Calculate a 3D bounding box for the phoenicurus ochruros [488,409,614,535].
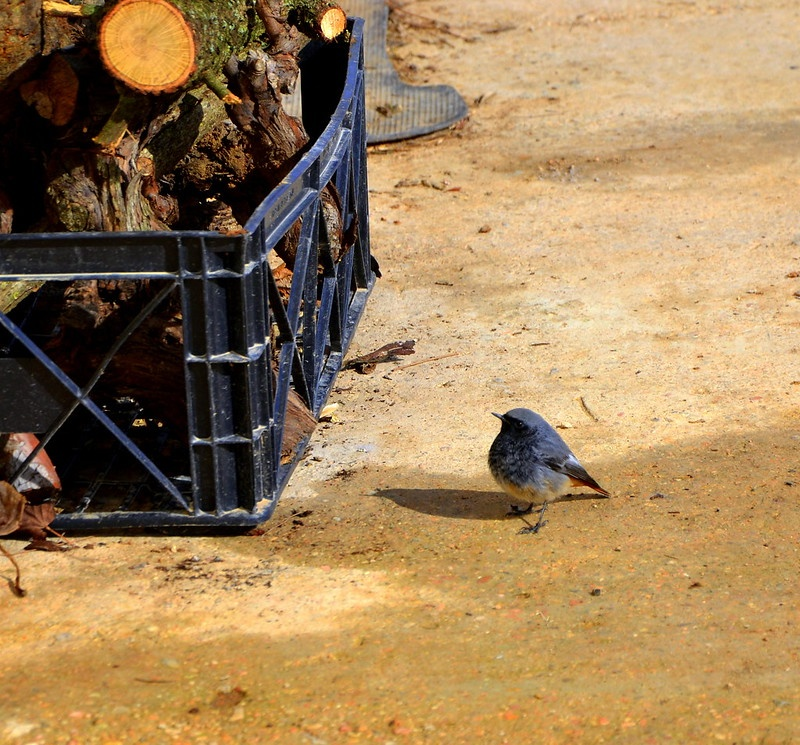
[{"bbox_3d":[0.936,0.590,7.925,0.729,0.668,0.293,2,15,3],"label":"phoenicurus ochruros"}]
